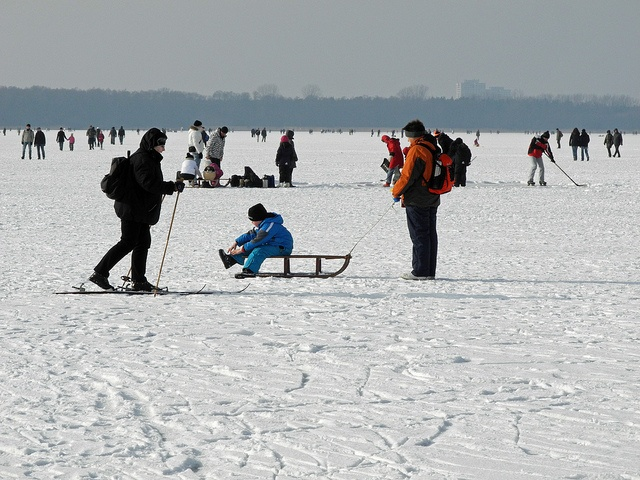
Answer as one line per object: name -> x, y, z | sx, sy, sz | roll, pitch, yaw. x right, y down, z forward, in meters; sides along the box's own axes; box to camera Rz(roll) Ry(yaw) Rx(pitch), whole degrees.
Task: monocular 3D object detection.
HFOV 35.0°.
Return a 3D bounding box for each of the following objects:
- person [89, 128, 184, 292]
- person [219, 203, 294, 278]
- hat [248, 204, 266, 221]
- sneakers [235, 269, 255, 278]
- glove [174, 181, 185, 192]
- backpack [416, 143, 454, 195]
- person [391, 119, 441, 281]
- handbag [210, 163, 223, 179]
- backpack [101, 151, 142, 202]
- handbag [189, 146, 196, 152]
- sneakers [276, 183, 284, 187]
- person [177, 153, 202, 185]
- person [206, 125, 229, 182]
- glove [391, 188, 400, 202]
person -> -1.829, -0.292, 10.077 | 0.896, 1.714, 0.759 | -1, 12, -8
person -> -0.663, -0.004, 11.310 | 0.925, 0.836, 0.661 | -1, 15, -7
hat -> -0.686, -0.290, 11.333 | 0.199, 0.214, 0.279 | -1, 12, -8
sneakers -> -0.813, 0.374, 11.184 | 0.237, 0.094, 0.088 | 4, 6, 4
glove -> -1.407, -0.537, 10.110 | 0.028, 0.108, 0.117 | -17, -16, 30
backpack -> 1.224, -0.777, 11.490 | 0.590, 0.555, 0.362 | 7, 2, 21
person -> 1.079, -0.470, 11.320 | 0.525, 1.773, 0.791 | 2, 12, 6
handbag -> -2.456, -1.623, 23.975 | 0.227, 0.397, 0.280 | -20, 46, -10
backpack -> -2.012, -0.591, 10.091 | 0.296, 0.492, 0.352 | 3, 1, -24
handbag -> -2.871, -2.038, 22.839 | 0.136, 0.093, 0.131 | 0, -2, -2
sneakers -> -0.956, -1.325, 24.422 | 0.138, 0.064, 0.198 | 1, 5, 2
person -> -2.719, -1.489, 21.472 | 0.485, 0.730, 0.717 | 1, 17, -12
person -> -2.406, -1.991, 23.652 | 0.469, 1.333, 0.666 | 6, 6, 32
glove -> 0.855, -0.492, 11.313 | 0.052, 0.134, 0.104 | -3, 19, 6
